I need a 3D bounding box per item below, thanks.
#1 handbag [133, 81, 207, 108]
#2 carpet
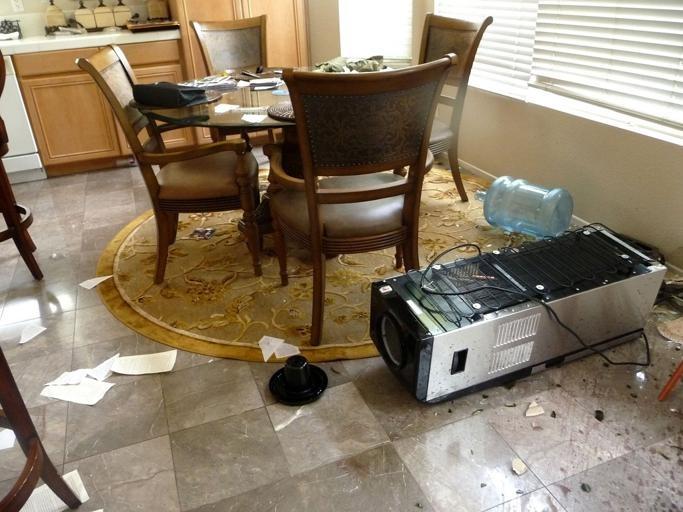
[{"bbox_3d":[-0.874,-0.831,2.563,0.239,0.066,0.233,19,26,33],"label":"handbag"},{"bbox_3d":[-0.356,0.089,2.595,1.415,0.049,1.253,-12,27,-21],"label":"carpet"}]
